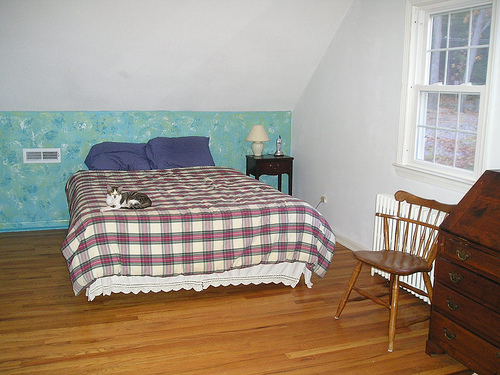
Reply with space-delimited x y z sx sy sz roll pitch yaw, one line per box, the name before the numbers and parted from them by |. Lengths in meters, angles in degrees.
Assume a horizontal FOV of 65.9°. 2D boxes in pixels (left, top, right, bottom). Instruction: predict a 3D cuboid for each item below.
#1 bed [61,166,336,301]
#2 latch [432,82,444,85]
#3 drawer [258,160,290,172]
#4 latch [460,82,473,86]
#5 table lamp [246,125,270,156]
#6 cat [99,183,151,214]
bed | -0.497 0.343 3.316 1.586 0.493 1.518 -4 18 -17
latch | 1.576 -0.879 3.248 0.053 0.027 0.129 -4 14 -19
drawer | 0.336 -0.290 5.226 0.278 0.129 0.200 -2 8 -14
latch | 1.681 -0.806 2.985 0.050 0.012 0.053 -3 6 -33
table lamp | 0.103 -0.647 5.317 0.237 0.430 0.243 -10 18 -35
cat | -1.039 0.064 3.178 0.434 0.206 0.263 -5 22 -41
